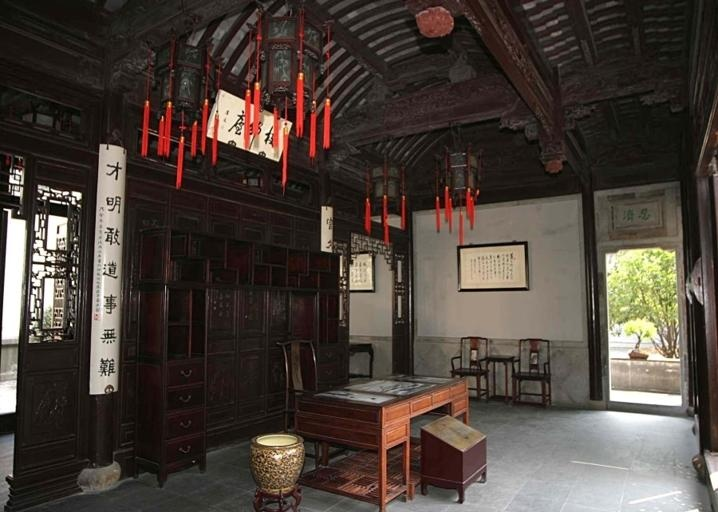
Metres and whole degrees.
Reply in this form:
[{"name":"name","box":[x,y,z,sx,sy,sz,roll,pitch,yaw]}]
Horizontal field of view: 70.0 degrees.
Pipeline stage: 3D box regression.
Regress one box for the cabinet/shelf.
[{"name":"cabinet/shelf","box":[-1.363,1.082,6.130,0.592,2.583,2.484,-8,-10,43]}]

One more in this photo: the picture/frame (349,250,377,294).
[{"name":"picture/frame","box":[0.094,0.300,10.090,0.778,0.959,0.103,-1,-4,34]}]

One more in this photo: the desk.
[{"name":"desk","box":[0.215,1.878,5.366,1.074,1.067,1.564,-7,-9,35]}]

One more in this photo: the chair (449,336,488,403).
[{"name":"chair","box":[1.949,1.941,8.926,0.637,1.056,0.670,5,-6,-37]}]

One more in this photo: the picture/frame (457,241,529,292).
[{"name":"picture/frame","box":[2.428,0.180,9.304,1.227,0.995,0.072,-3,-32,17]}]

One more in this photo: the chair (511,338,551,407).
[{"name":"chair","box":[2.866,1.919,8.499,0.623,1.088,0.669,5,-6,-32]}]

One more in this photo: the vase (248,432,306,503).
[{"name":"vase","box":[-0.641,1.767,4.427,0.477,0.573,0.503,0,-3,11]}]

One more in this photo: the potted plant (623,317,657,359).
[{"name":"potted plant","box":[6.386,1.816,11.566,0.797,0.981,0.662,1,-7,4]}]
